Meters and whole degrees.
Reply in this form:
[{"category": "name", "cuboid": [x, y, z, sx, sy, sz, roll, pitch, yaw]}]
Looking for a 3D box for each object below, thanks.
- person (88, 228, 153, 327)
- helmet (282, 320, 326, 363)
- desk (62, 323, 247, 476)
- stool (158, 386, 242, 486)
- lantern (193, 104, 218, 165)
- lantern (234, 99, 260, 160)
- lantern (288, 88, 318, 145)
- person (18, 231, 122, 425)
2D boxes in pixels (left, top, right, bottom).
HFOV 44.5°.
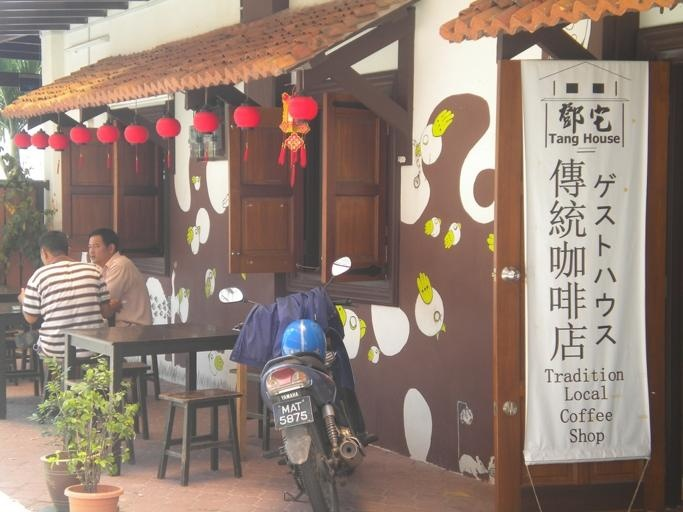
[{"category": "person", "cuboid": [-2.535, 0.254, 9.492, 0.616, 1.408, 0.537, -8, -22, -12]}, {"category": "helmet", "cuboid": [-0.291, 0.715, 6.832, 0.318, 0.358, 0.389, -7, -13, -5]}, {"category": "desk", "cuboid": [-1.897, 1.435, 7.898, 1.633, 0.945, 1.145, -2, 4, -43]}, {"category": "stool", "cuboid": [-1.290, 1.655, 7.670, 0.637, 0.791, 0.483, 3, -3, -39]}, {"category": "lantern", "cuboid": [-1.462, -1.298, 8.976, 0.257, 0.614, 0.272, -5, 20, -21]}, {"category": "lantern", "cuboid": [-0.957, -1.263, 8.479, 0.278, 0.580, 0.307, 0, 2, -7]}, {"category": "lantern", "cuboid": [-0.373, -1.333, 7.792, 0.260, 0.464, 0.267, 4, -4, -24]}, {"category": "person", "cuboid": [-2.900, 0.708, 8.762, 0.929, 1.972, 1.039, -7, 7, -41]}]
